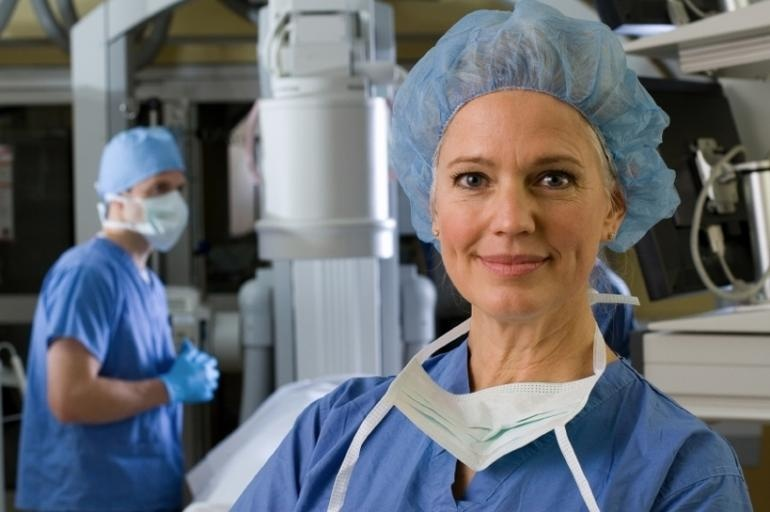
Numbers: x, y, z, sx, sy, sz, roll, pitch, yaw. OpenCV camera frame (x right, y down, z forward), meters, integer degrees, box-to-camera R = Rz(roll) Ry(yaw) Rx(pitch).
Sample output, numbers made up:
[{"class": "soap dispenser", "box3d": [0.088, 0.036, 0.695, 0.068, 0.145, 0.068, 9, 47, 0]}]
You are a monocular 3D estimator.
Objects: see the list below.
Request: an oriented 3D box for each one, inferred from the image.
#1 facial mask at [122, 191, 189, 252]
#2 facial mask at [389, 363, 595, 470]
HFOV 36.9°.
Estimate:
[{"class": "facial mask", "box3d": [-0.520, -0.100, 2.618, 0.100, 0.167, 0.084, 6, 7, 33]}, {"class": "facial mask", "box3d": [0.209, 0.310, 2.250, 0.411, 0.188, 0.101, -1, 2, 12]}]
